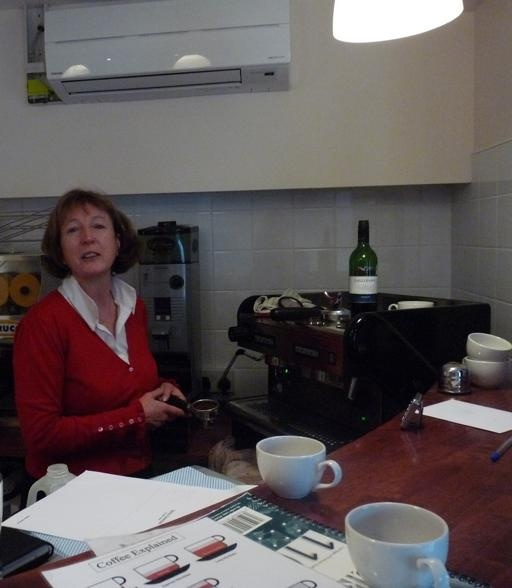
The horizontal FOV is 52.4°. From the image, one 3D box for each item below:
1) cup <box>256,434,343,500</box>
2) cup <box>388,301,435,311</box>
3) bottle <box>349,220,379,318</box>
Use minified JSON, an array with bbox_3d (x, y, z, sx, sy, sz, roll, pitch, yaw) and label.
[{"bbox_3d":[0.053,0.201,0.635,0.092,0.047,0.067,4,5,27],"label":"cup"},{"bbox_3d":[0.427,0.032,1.441,0.092,0.033,0.058,-5,-1,17],"label":"cup"},{"bbox_3d":[0.299,-0.074,1.467,0.084,0.281,0.284,-4,-7,12],"label":"bottle"}]
